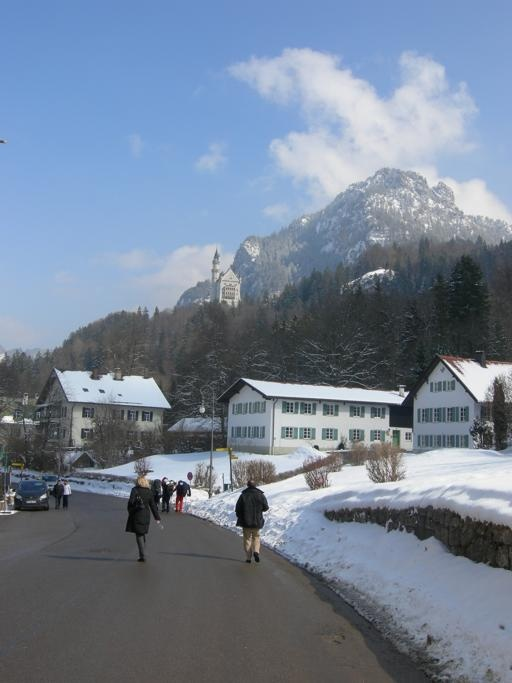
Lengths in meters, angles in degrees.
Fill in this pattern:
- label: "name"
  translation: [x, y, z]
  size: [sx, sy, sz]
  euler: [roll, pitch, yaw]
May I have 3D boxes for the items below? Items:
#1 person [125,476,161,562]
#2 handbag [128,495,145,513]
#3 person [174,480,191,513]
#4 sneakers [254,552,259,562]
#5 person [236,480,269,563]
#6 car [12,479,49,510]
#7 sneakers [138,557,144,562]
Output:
- label: "person"
  translation: [-2.150, 3.357, 15.101]
  size: [0.612, 1.565, 1.385]
  euler: [0, -7, -9]
- label: "handbag"
  translation: [-2.220, 3.037, 14.697]
  size: [0.175, 0.463, 0.394]
  euler: [1, -8, -2]
- label: "person"
  translation: [-3.173, 6.619, 34.082]
  size: [0.562, 1.270, 2.674]
  euler: [0, -8, -6]
- label: "sneakers"
  translation: [0.017, 4.116, 15.083]
  size: [0.052, 0.213, 0.078]
  euler: [-5, 2, 6]
- label: "person"
  translation: [-0.074, 3.481, 15.419]
  size: [0.606, 1.534, 0.861]
  euler: [0, -6, -2]
- label: "car"
  translation: [-9.315, 6.376, 32.966]
  size: [0.825, 0.990, 1.714]
  euler: [1, -14, -13]
- label: "sneakers"
  translation: [-2.135, 4.015, 14.588]
  size: [0.088, 0.075, 0.239]
  euler: [4, -10, -31]
